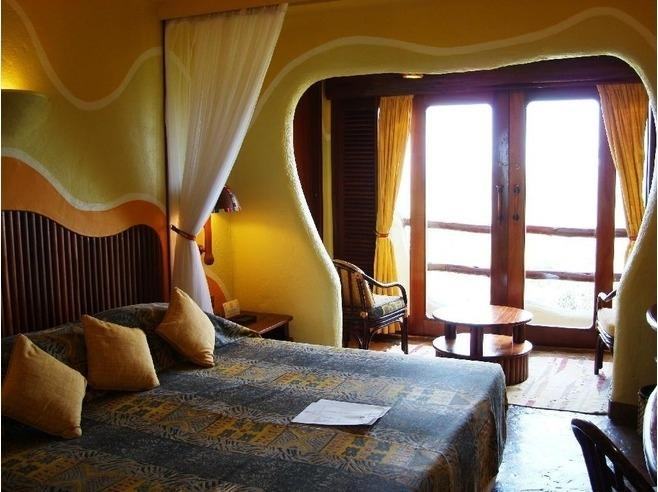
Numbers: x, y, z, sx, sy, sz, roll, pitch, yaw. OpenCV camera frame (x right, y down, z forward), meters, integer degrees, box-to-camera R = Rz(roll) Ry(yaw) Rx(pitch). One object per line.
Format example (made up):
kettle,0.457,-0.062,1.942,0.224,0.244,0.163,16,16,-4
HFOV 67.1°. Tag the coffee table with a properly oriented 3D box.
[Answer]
coffee table,1.343,0.803,4.404,0.702,0.469,0.723,1,6,25

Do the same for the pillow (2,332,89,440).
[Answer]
pillow,-1.347,0.655,2.338,0.321,0.418,0.303,-5,11,-20
